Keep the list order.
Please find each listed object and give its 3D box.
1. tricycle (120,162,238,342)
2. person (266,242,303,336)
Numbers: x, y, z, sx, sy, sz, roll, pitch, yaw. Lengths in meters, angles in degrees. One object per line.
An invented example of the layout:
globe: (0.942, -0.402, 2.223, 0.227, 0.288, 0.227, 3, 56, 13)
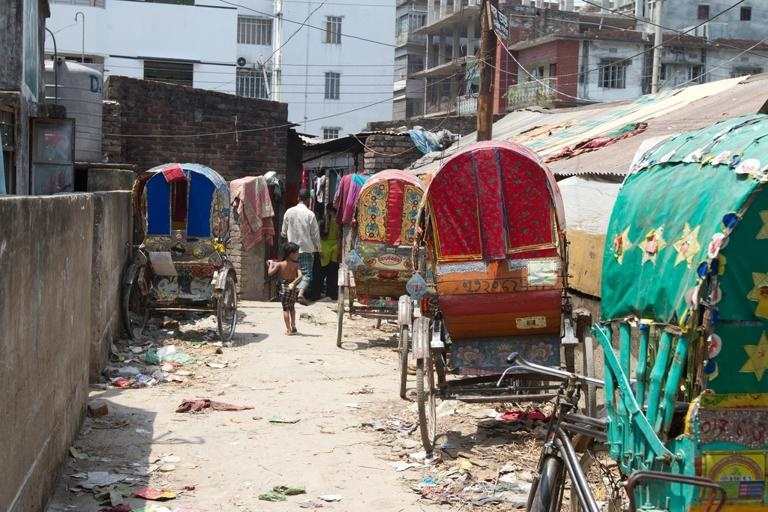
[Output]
tricycle: (-2.985, -0.071, 14.498, 1.602, 2.455, 1.125, 0, 13, -12)
person: (-1.597, 0.487, 15.814, 0.472, 1.371, 1.266, 1, 13, -7)
